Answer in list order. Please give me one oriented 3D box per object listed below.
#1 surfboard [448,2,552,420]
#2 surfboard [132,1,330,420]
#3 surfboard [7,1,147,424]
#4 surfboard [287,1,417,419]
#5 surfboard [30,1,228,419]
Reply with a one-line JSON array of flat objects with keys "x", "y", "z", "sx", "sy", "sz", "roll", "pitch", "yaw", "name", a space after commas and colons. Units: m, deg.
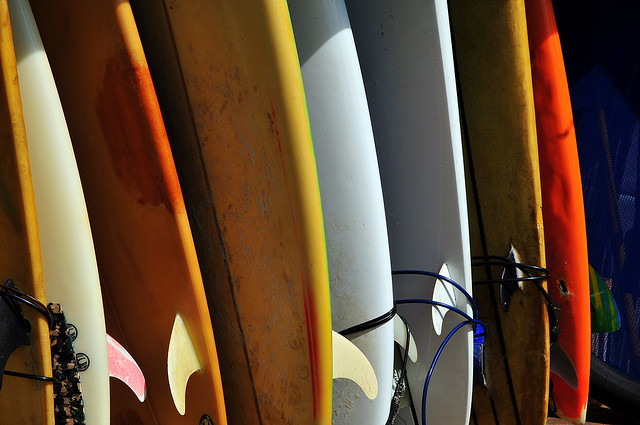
[{"x": 0.530, "y": -0.028, "z": 1.887, "sx": 0.225, "sy": 1.528, "sz": 0.122, "roll": 0, "pitch": 13, "yaw": 22, "name": "surfboard"}, {"x": -0.163, "y": -0.055, "z": 1.470, "sx": 0.244, "sy": 1.562, "sz": 0.181, "roll": -1, "pitch": 8, "yaw": 22, "name": "surfboard"}, {"x": -0.522, "y": 0.009, "z": 1.385, "sx": 0.089, "sy": 0.959, "sz": 0.150, "roll": -16, "pitch": 9, "yaw": -41, "name": "surfboard"}, {"x": 0.063, "y": -0.060, "z": 1.614, "sx": 0.173, "sy": 1.202, "sz": 0.114, "roll": -2, "pitch": 1, "yaw": -13, "name": "surfboard"}, {"x": -0.403, "y": -0.013, "z": 1.471, "sx": 0.222, "sy": 1.482, "sz": 0.151, "roll": -2, "pitch": 10, "yaw": 17, "name": "surfboard"}]
